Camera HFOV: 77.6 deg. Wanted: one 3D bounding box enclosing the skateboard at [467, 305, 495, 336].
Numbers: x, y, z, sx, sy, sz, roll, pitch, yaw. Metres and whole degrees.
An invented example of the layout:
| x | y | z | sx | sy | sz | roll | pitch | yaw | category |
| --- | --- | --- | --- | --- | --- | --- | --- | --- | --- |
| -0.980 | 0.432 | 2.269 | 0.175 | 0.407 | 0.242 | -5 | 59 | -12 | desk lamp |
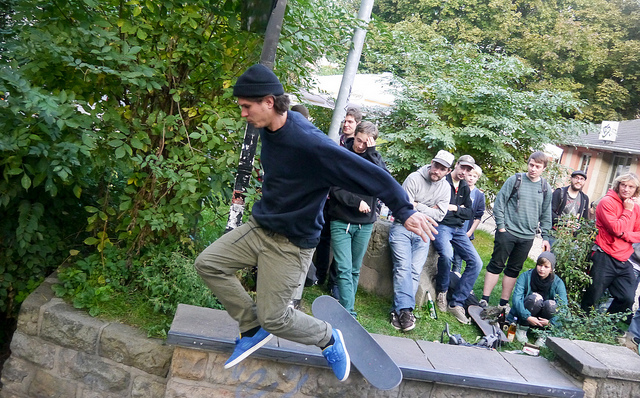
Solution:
| x | y | z | sx | sy | sz | roll | pitch | yaw | category |
| --- | --- | --- | --- | --- | --- | --- | --- | --- | --- |
| 2.578 | 1.912 | 6.405 | 0.261 | 0.386 | 0.765 | 10 | 3 | 3 | skateboard |

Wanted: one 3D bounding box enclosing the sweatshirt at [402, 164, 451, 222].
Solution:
| x | y | z | sx | sy | sz | roll | pitch | yaw | category |
| --- | --- | --- | --- | --- | --- | --- | --- | --- | --- |
| 1.611 | -0.070 | 5.895 | 0.871 | 0.856 | 0.553 | 9 | -10 | -6 | sweatshirt |

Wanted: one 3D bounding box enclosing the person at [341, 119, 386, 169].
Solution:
| x | y | z | sx | sy | sz | roll | pitch | yaw | category |
| --- | --- | --- | --- | --- | --- | --- | --- | --- | --- |
| 0.612 | -0.767 | 5.868 | 0.918 | 0.510 | 0.435 | 16 | 6 | 13 | person |

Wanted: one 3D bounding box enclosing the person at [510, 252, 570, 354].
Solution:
| x | y | z | sx | sy | sz | roll | pitch | yaw | category |
| --- | --- | --- | --- | --- | --- | --- | --- | --- | --- |
| 3.519 | 1.571 | 6.377 | 0.793 | 1.631 | 1.199 | 12 | 5 | 28 | person |

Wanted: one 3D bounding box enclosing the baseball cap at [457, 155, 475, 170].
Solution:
| x | y | z | sx | sy | sz | roll | pitch | yaw | category |
| --- | --- | --- | --- | --- | --- | --- | --- | --- | --- |
| 2.485 | -0.633 | 6.699 | 0.225 | 0.204 | 0.328 | 11 | 4 | 29 | baseball cap |

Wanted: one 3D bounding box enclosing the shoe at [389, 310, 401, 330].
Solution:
| x | y | z | sx | sy | sz | roll | pitch | yaw | category |
| --- | --- | --- | --- | --- | --- | --- | --- | --- | --- |
| 1.104 | 1.768 | 5.850 | 0.103 | 0.116 | 0.288 | -1 | 4 | -9 | shoe |

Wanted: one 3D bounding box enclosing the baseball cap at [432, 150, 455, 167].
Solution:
| x | y | z | sx | sy | sz | roll | pitch | yaw | category |
| --- | --- | --- | --- | --- | --- | --- | --- | --- | --- |
| 1.969 | -0.633 | 6.344 | 0.316 | 0.226 | 0.277 | 9 | 4 | 4 | baseball cap |

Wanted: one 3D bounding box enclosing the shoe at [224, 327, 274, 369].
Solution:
| x | y | z | sx | sy | sz | roll | pitch | yaw | category |
| --- | --- | --- | --- | --- | --- | --- | --- | --- | --- |
| -0.763 | 1.460 | 4.103 | 0.242 | 0.196 | 0.583 | 53 | -18 | -13 | shoe |

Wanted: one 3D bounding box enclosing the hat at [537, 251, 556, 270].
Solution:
| x | y | z | sx | sy | sz | roll | pitch | yaw | category |
| --- | --- | --- | --- | --- | --- | --- | --- | --- | --- |
| 3.767 | 1.000 | 6.573 | 0.332 | 0.301 | 0.186 | 6 | 6 | -40 | hat |

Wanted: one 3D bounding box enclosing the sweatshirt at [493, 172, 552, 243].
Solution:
| x | y | z | sx | sy | sz | roll | pitch | yaw | category |
| --- | --- | --- | --- | --- | --- | --- | --- | --- | --- |
| 3.659 | 0.107 | 7.162 | 1.170 | 1.076 | 0.585 | 10 | 8 | -6 | sweatshirt |

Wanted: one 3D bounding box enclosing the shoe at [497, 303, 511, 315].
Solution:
| x | y | z | sx | sy | sz | roll | pitch | yaw | category |
| --- | --- | --- | --- | --- | --- | --- | --- | --- | --- |
| 3.029 | 1.792 | 6.546 | 0.112 | 0.134 | 0.335 | 8 | -24 | 44 | shoe |

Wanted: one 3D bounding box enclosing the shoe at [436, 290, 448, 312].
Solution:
| x | y | z | sx | sy | sz | roll | pitch | yaw | category |
| --- | --- | --- | --- | --- | --- | --- | --- | --- | --- |
| 2.066 | 1.715 | 6.766 | 0.129 | 0.340 | 0.156 | -4 | -7 | 11 | shoe |

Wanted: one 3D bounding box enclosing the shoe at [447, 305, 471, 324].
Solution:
| x | y | z | sx | sy | sz | roll | pitch | yaw | category |
| --- | --- | --- | --- | --- | --- | --- | --- | --- | --- |
| 2.313 | 1.873 | 6.581 | 0.402 | 0.164 | 0.149 | 33 | 4 | 25 | shoe |

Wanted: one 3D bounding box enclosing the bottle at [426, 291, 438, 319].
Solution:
| x | y | z | sx | sy | sz | roll | pitch | yaw | category |
| --- | --- | --- | --- | --- | --- | --- | --- | --- | --- |
| 1.867 | 1.725 | 6.575 | 0.181 | 0.360 | 0.405 | 10 | 4 | 4 | bottle |
